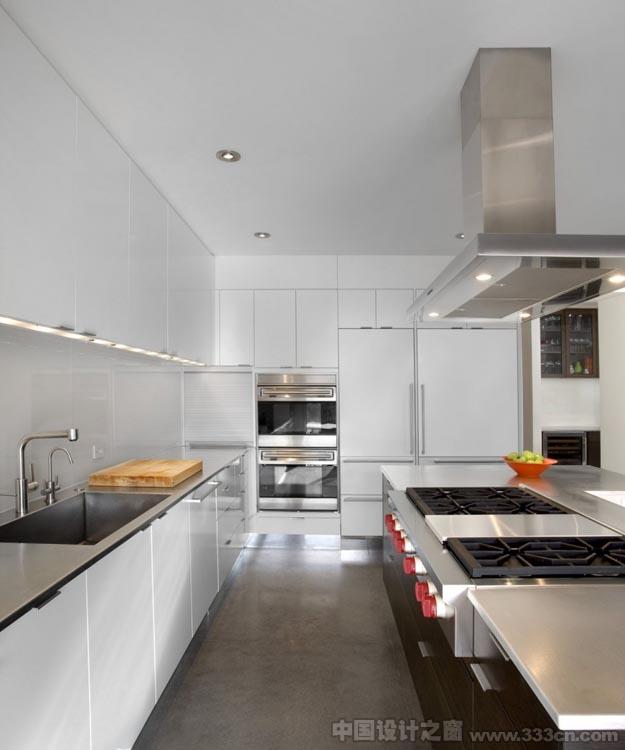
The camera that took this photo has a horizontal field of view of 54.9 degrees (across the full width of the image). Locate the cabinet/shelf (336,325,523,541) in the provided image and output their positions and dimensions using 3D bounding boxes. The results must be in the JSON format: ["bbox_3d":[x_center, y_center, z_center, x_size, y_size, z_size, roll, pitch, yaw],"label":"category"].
[{"bbox_3d":[0.617,0.446,4.874,1.487,1.740,0.598,12,-12,-31],"label":"cabinet/shelf"}]

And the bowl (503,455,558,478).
[{"bbox_3d":[1.155,0.494,3.195,0.234,0.103,0.325,-1,1,7],"label":"bowl"}]
